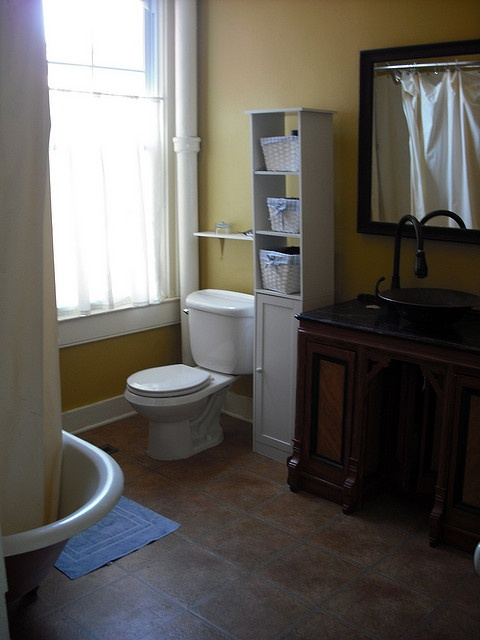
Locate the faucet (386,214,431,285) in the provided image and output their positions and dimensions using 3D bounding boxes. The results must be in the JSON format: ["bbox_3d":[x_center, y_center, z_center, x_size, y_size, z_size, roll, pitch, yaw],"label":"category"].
[{"bbox_3d":[0.714,-0.291,2.086,0.144,0.318,0.472,2,7,18],"label":"faucet"}]

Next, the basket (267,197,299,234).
[{"bbox_3d":[0.211,-0.510,2.392,0.137,0.178,0.201,-12,18,-41],"label":"basket"}]

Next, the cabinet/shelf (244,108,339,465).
[{"bbox_3d":[0.216,-0.155,2.581,0.277,1.741,0.219,2,6,23],"label":"cabinet/shelf"}]

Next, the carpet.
[{"bbox_3d":[-0.524,0.852,1.981,0.388,0.022,0.501,8,11,43],"label":"carpet"}]

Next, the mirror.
[{"bbox_3d":[0.777,-0.791,2.118,0.036,1.040,0.710,-8,12,-37],"label":"mirror"}]

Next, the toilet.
[{"bbox_3d":[-0.222,0.299,2.789,0.552,1.074,0.853,10,13,43],"label":"toilet"}]

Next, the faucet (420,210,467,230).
[{"bbox_3d":[0.857,-0.421,2.072,0.116,0.094,0.039,15,43,23],"label":"faucet"}]

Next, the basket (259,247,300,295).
[{"bbox_3d":[0.191,-0.257,2.487,0.164,0.195,0.221,-12,21,-36],"label":"basket"}]

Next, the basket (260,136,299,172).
[{"bbox_3d":[0.184,-0.776,2.322,0.141,0.155,0.189,9,20,31],"label":"basket"}]
